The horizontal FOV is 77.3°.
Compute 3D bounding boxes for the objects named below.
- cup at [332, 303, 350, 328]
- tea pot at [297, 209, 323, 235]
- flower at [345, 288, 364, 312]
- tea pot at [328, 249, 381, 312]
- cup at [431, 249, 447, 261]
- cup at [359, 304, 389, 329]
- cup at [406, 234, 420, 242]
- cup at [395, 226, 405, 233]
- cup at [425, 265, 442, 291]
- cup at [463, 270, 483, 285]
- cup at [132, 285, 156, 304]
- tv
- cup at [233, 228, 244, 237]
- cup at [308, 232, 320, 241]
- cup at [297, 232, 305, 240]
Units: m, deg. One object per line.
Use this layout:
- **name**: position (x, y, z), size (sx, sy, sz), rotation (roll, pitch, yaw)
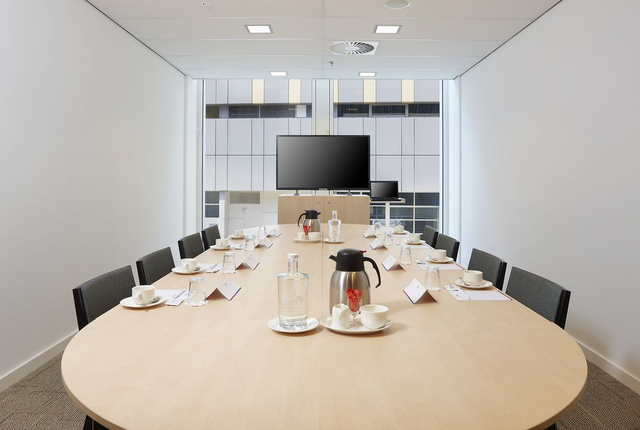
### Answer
- **cup**: position (0.099, 0.482, 1.909), size (0.078, 0.094, 0.103), rotation (2, 7, 9)
- **tea pot**: position (-0.114, 0.091, 4.665), size (0.394, 0.396, 0.261), rotation (-1, 2, -5)
- **flower**: position (0.157, 0.413, 1.987), size (0.100, 0.120, 0.104), rotation (-2, 5, -22)
- **tea pot**: position (0.130, 0.326, 2.086), size (0.359, 0.361, 0.214), rotation (2, 0, -2)
- **cup**: position (0.944, 0.316, 3.171), size (0.103, 0.067, 0.079), rotation (-5, -5, 35)
- **cup**: position (0.253, 0.490, 1.912), size (0.113, 0.070, 0.101), rotation (-2, 2, 10)
- **cup**: position (0.928, 0.237, 3.978), size (0.094, 0.074, 0.102), rotation (-2, -2, 0)
- **cup**: position (0.979, 0.182, 4.886), size (0.101, 0.072, 0.079), rotation (-2, 2, 3)
- **cup**: position (0.700, 0.403, 2.517), size (0.130, 0.163, 0.126), rotation (0, -4, 0)
- **cup**: position (0.970, 0.390, 2.532), size (0.091, 0.064, 0.098), rotation (0, 1, 0)
- **cup**: position (-0.987, 0.446, 2.237), size (0.090, 0.077, 0.113), rotation (1, 6, 0)
- **tv**: position (0.050, -0.889, 6.834), size (1.566, 0.933, 0.330), rotation (-1, 12, -5)
- **cup**: position (-1.208, 0.251, 5.858), size (0.108, 0.116, 0.119), rotation (5, 11, 5)
- **cup**: position (-0.054, 0.231, 4.122), size (0.091, 0.068, 0.093), rotation (0, 7, 0)
- **cup**: position (-0.199, 0.223, 4.117), size (0.068, 0.065, 0.067), rotation (-1, 0, 0)
